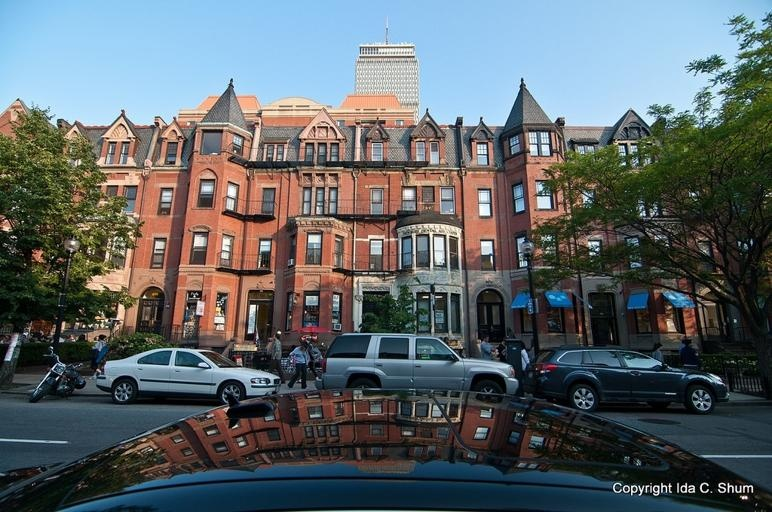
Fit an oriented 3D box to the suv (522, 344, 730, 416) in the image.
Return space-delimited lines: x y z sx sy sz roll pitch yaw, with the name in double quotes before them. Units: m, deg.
"suv" 8.984 4.807 20.884 6.970 2.034 2.780 -1 -14 2
